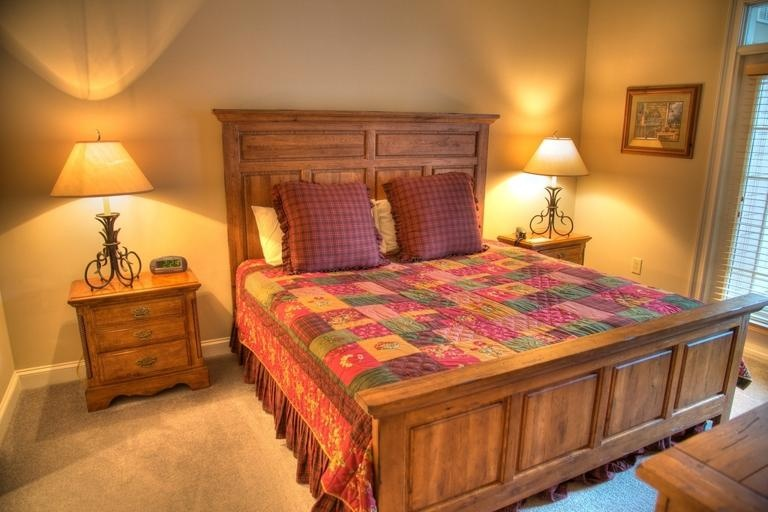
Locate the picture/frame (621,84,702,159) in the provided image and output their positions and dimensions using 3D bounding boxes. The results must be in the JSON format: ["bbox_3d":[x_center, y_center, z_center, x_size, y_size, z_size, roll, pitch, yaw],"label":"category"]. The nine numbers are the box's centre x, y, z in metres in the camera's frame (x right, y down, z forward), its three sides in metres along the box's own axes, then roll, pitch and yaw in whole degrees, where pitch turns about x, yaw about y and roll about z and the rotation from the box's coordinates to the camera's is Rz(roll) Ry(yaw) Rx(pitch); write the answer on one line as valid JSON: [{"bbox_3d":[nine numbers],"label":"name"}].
[{"bbox_3d":[2.485,-1.197,4.410,0.061,0.651,0.713,-13,24,-35],"label":"picture/frame"}]

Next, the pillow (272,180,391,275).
[{"bbox_3d":[-0.403,-0.237,3.641,0.832,0.673,0.232,-6,-17,-29],"label":"pillow"}]

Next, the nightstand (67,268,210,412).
[{"bbox_3d":[-1.633,0.644,3.643,0.948,0.739,0.565,-11,-9,5],"label":"nightstand"}]

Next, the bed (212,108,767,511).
[{"bbox_3d":[0.620,0.298,3.239,3.005,1.809,0.735,-7,16,-24],"label":"bed"}]

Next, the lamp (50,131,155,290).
[{"bbox_3d":[-1.890,-0.317,3.408,0.593,1.046,0.435,-9,13,-22],"label":"lamp"}]
